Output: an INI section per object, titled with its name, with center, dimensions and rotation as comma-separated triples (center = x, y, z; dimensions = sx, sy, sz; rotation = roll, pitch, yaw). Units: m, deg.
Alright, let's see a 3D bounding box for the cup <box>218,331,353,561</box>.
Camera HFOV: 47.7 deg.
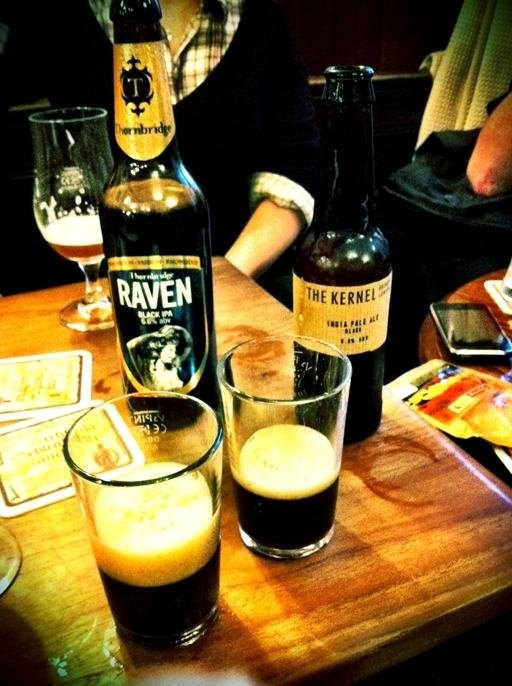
[cup]
center = 0.021, 0.093, 0.484
dimensions = 0.109, 0.156, 0.103
rotation = -3, 21, 1
